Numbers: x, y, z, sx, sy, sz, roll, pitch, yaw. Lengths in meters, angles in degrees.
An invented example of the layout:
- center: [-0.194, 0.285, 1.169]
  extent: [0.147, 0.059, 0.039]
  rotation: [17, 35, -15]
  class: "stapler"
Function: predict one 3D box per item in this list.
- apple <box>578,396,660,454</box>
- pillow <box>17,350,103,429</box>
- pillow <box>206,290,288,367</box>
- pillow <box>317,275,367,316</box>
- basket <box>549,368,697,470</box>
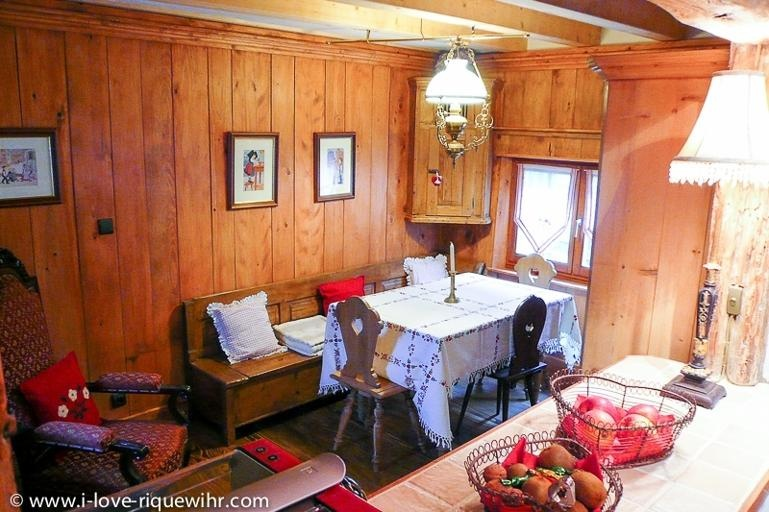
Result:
- center: [0.888, 0.630, 2.043]
  extent: [0.219, 0.092, 0.213]
  rotation: [0, 4, -29]
  class: "apple"
- center: [-1.859, 0.793, 3.131]
  extent: [0.129, 0.382, 0.409]
  rotation: [-23, 10, 27]
  class: "pillow"
- center: [-1.154, 0.599, 4.420]
  extent: [0.543, 0.520, 0.158]
  rotation: [-18, -8, -40]
  class: "pillow"
- center: [-0.396, 0.346, 4.637]
  extent: [0.362, 0.228, 0.083]
  rotation: [-16, 10, -31]
  class: "pillow"
- center: [0.890, 0.630, 2.211]
  extent: [0.466, 0.146, 0.400]
  rotation: [-4, 14, -25]
  class: "basket"
